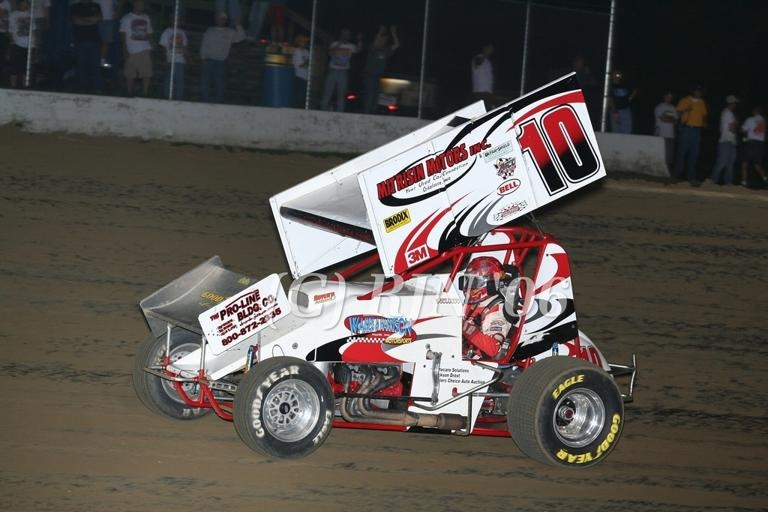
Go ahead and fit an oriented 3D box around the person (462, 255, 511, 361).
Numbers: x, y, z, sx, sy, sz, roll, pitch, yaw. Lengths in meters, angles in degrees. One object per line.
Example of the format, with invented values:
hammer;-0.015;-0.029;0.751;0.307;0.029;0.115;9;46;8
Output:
person;1.277;0.648;17.797;0.649;1.240;0.261;5;7;0

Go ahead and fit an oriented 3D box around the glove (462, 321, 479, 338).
glove;1.067;0.917;17.783;0.221;0.173;0.054;23;3;7

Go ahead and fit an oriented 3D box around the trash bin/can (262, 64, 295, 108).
trash bin/can;-1.761;-2.847;23.964;0.516;0.709;0.216;3;7;-18

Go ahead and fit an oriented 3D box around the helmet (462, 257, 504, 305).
helmet;1.212;0.274;17.760;0.678;0.525;0.486;-1;-7;12
